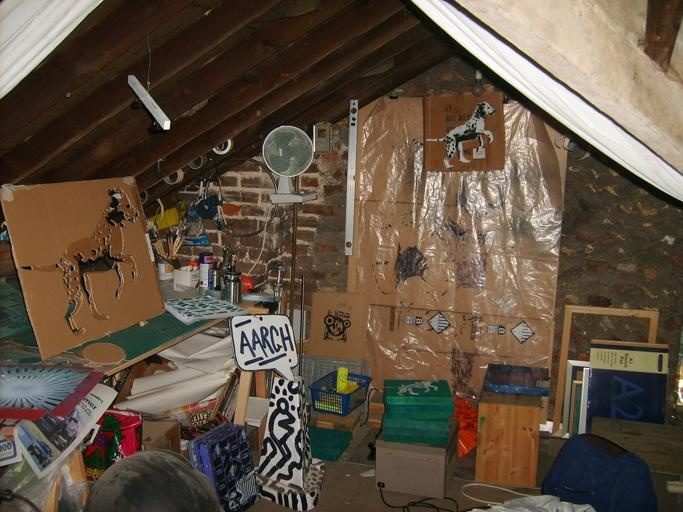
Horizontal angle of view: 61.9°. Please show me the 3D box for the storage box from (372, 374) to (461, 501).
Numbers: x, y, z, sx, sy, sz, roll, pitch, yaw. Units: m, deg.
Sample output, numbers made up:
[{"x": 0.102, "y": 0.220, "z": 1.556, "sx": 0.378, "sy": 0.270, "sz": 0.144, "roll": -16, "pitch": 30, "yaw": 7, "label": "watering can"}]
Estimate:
[{"x": 0.442, "y": 1.066, "z": 3.372, "sx": 0.459, "sy": 0.618, "sz": 0.361, "roll": 1, "pitch": -6, "yaw": 12, "label": "storage box"}]

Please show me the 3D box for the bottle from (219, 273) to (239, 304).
[{"x": -0.684, "y": 0.197, "z": 3.502, "sx": 0.135, "sy": 0.234, "sz": 0.166, "roll": 0, "pitch": 0, "yaw": -11, "label": "bottle"}]

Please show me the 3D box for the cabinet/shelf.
[{"x": 0.976, "y": 1.060, "z": 3.522, "sx": 0.499, "sy": 0.655, "sz": 0.443, "roll": 3, "pitch": 4, "yaw": 13, "label": "cabinet/shelf"}]

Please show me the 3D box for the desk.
[{"x": -1.094, "y": 0.479, "z": 2.878, "sx": 0.701, "sy": 0.712, "sz": 1.281, "roll": -1, "pitch": -7, "yaw": 29, "label": "desk"}]

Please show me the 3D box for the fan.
[{"x": -0.305, "y": -0.549, "z": 3.390, "sx": 0.319, "sy": 0.466, "sz": 0.327, "roll": -3, "pitch": 14, "yaw": -22, "label": "fan"}]

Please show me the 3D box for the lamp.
[{"x": -0.767, "y": -0.708, "z": 2.253, "sx": 0.051, "sy": 0.290, "sz": 0.211, "roll": 19, "pitch": -12, "yaw": 39, "label": "lamp"}]

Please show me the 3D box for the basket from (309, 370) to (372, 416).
[{"x": -0.004, "y": 0.945, "z": 3.875, "sx": 0.262, "sy": 0.155, "sz": 0.354, "roll": 2, "pitch": 1, "yaw": 25, "label": "basket"}]
